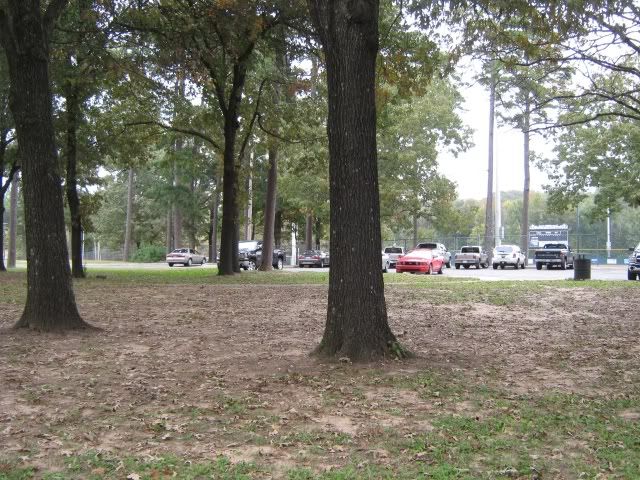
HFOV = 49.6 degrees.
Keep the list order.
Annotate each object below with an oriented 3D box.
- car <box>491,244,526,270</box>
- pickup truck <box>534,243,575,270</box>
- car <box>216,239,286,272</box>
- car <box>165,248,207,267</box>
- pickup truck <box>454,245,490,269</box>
[{"bbox_3d":[12.456,1.162,45.219,1.155,1.146,2.597,0,1,25],"label":"car"},{"bbox_3d":[14.728,1.040,43.241,1.297,1.225,2.763,1,3,28],"label":"pickup truck"},{"bbox_3d":[-3.636,0.930,40.069,1.836,1.386,2.956,-3,-7,24],"label":"car"},{"bbox_3d":[-10.347,1.336,50.694,2.589,0.919,1.195,4,3,41],"label":"car"},{"bbox_3d":[10.502,1.204,47.341,1.276,1.142,2.410,1,3,25],"label":"pickup truck"}]
